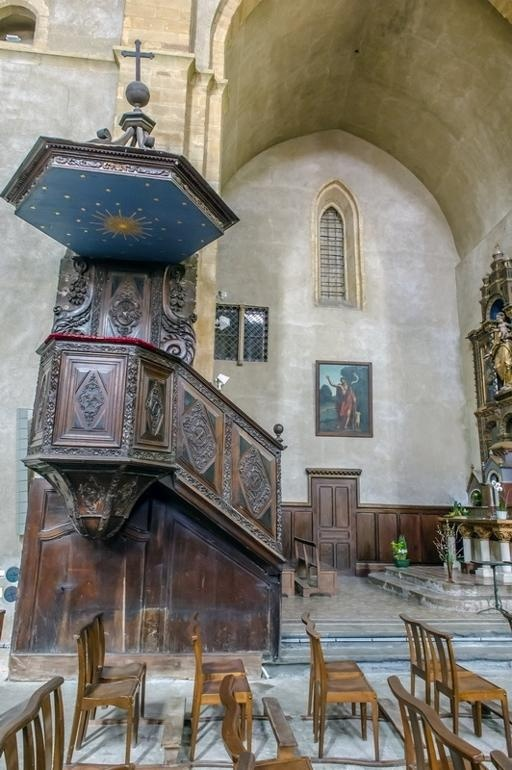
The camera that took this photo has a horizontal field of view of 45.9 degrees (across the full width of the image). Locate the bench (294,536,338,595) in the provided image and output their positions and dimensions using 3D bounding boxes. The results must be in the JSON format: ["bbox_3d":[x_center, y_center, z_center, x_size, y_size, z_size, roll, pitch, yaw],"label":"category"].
[{"bbox_3d":[0.931,3.018,10.495,0.343,0.479,1.325,-5,-8,-15],"label":"bench"}]

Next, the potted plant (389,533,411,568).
[{"bbox_3d":[2.716,3.143,11.411,0.333,0.566,0.884,-2,-9,12],"label":"potted plant"}]

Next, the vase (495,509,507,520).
[{"bbox_3d":[3.775,2.006,9.330,0.166,0.121,0.168,-5,-13,26],"label":"vase"}]
